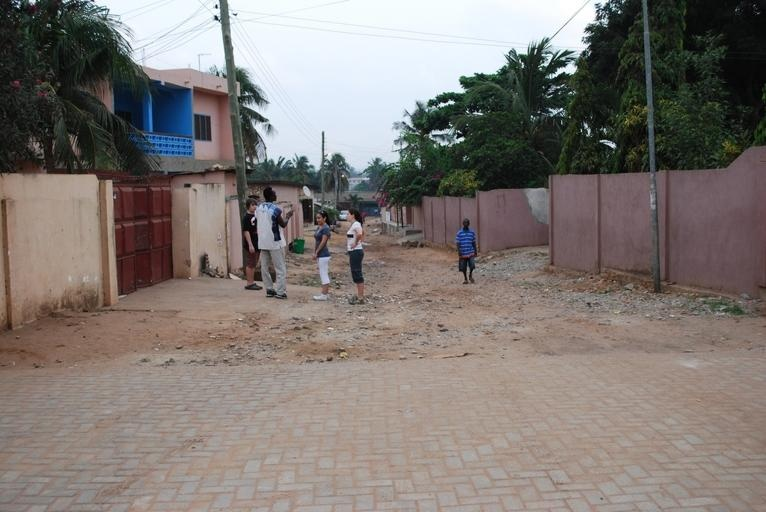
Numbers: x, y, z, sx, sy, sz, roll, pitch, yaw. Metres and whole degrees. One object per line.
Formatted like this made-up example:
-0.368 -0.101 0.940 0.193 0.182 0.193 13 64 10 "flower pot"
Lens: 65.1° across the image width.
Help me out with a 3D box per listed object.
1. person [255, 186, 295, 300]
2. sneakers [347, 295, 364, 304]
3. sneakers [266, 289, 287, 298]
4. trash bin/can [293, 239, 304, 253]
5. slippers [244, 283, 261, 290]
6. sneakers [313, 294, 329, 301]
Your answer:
-2.342 -0.300 12.762 0.608 2.366 0.693 -6 15 -20 "person"
-0.631 0.943 13.284 0.161 0.151 0.343 1 -10 -16 "sneakers"
-2.290 0.765 12.879 0.404 0.166 0.158 2 3 -2 "sneakers"
-3.816 -0.512 26.880 0.551 0.556 0.555 1 3 32 "trash bin/can"
-2.948 0.657 13.696 0.273 0.101 0.153 1 0 -2 "slippers"
-1.422 0.871 13.274 0.369 0.156 0.132 5 8 35 "sneakers"
